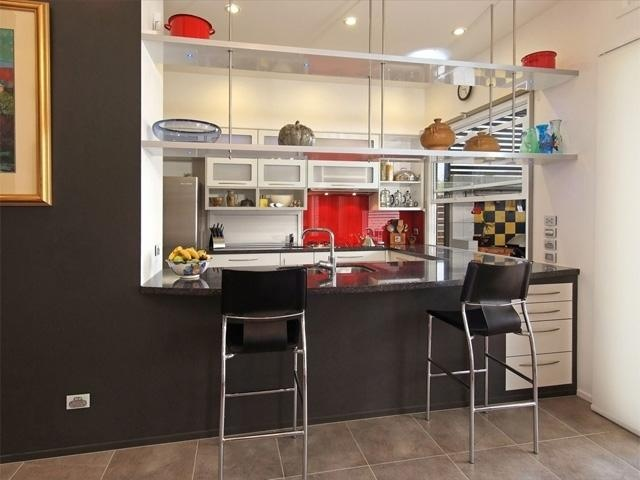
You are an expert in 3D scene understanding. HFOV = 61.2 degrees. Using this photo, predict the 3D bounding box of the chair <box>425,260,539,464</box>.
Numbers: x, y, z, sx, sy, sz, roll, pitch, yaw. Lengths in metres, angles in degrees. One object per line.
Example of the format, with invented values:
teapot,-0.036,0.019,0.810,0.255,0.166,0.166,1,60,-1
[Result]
chair,1.236,0.768,3.900,0.860,1.311,0.766,-1,9,-10

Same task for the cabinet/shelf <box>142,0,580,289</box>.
cabinet/shelf,0.237,-0.052,5.358,4.498,3.018,2.322,0,-7,-14

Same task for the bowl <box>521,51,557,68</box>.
bowl,1.778,-1.467,4.405,0.250,0.157,0.195,4,9,17

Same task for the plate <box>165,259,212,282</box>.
plate,-0.954,0.210,3.922,0.277,0.143,0.193,-2,9,-17

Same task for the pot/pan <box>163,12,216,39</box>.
pot/pan,-0.961,-1.531,3.976,0.285,0.108,0.248,1,-3,-12

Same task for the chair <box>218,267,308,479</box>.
chair,-0.385,0.831,3.595,0.617,1.367,0.684,0,9,-3

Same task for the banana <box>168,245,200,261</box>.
banana,-0.967,0.111,3.921,0.155,0.093,0.168,0,-4,43

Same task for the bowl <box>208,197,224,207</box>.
bowl,-1.224,-0.451,6.435,0.138,0.090,0.141,0,-2,0

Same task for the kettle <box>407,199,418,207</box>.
kettle,1.179,-0.486,6.937,0.131,0.113,0.078,0,0,-1
